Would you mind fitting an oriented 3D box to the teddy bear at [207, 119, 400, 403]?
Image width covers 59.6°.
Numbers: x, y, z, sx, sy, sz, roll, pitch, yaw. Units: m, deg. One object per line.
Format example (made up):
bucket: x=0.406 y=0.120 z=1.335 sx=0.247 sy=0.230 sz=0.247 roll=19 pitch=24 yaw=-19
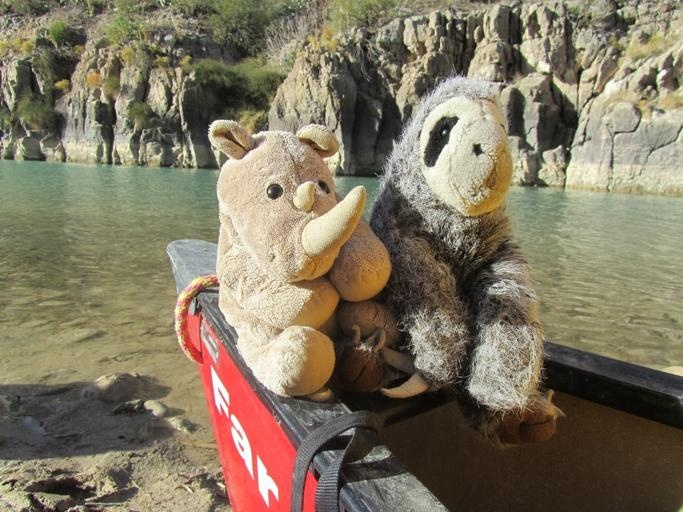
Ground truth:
teddy bear: x=-0.198 y=-0.046 z=3.407 sx=0.970 sy=1.438 sz=1.204 roll=-21 pitch=29 yaw=-32
